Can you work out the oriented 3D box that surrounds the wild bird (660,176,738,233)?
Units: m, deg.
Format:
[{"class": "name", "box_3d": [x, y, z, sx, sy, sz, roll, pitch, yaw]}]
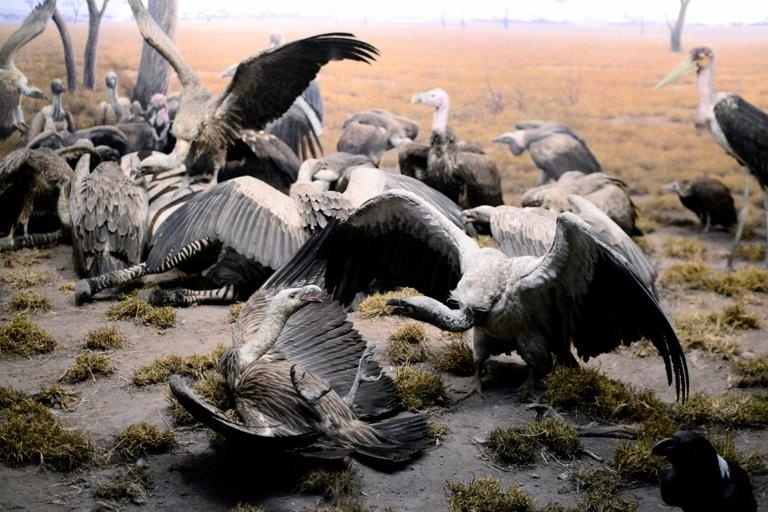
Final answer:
[{"class": "wild bird", "box_3d": [3.712, -0.677, 11.043, 0.926, 0.603, 0.435, 13, 14, 36]}]
